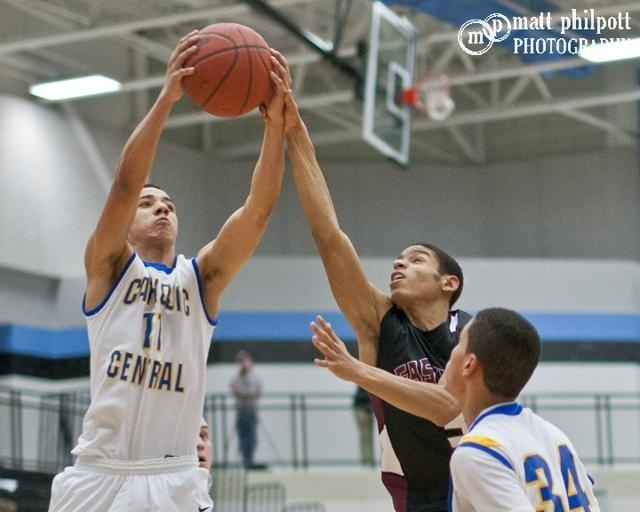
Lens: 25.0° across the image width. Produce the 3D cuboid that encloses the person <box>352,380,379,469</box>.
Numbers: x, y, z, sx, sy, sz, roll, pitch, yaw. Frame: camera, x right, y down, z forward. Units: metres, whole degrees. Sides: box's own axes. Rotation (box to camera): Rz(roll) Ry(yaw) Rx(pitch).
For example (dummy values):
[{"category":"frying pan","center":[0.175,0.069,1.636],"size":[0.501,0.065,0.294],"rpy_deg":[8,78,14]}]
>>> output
[{"category":"person","center":[0.718,2.606,22.069],"size":[0.381,1.460,0.309],"rpy_deg":[-2,-3,12]}]
